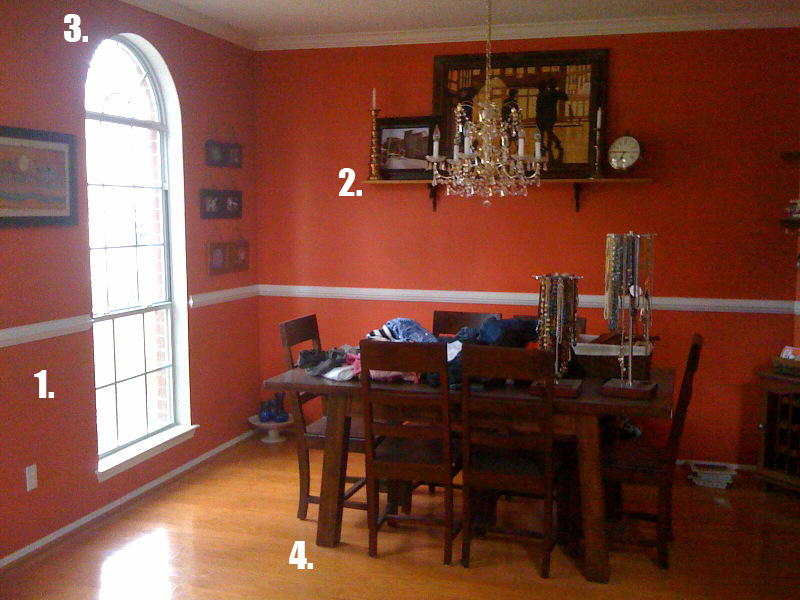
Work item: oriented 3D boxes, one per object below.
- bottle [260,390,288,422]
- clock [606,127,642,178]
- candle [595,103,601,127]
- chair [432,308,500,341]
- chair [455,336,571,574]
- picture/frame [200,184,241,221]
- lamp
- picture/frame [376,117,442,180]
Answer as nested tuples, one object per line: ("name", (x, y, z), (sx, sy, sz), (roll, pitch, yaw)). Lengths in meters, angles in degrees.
("bottle", (-1.026, 0.883, 5.392), (0.247, 0.252, 0.166), (7, -8, -27))
("clock", (1.589, -1.065, 4.744), (0.219, 0.283, 0.081), (5, 6, 29))
("candle", (1.443, -1.318, 4.809), (0.054, 0.153, 0.136), (3, 13, 15))
("chair", (0.410, 0.153, 4.666), (0.298, 0.289, 0.223), (0, -3, 11))
("chair", (0.608, 0.819, 3.644), (0.522, 1.267, 0.461), (3, 13, 14))
("picture/frame", (-1.382, -0.737, 5.137), (0.024, 0.262, 0.506), (5, 13, 22))
("lamp", (0.621, -1.282, 4.365), (0.840, 1.374, 1.607), (0, 12, 3))
("picture/frame", (0.082, -1.169, 5.072), (0.671, 0.667, 0.050), (1, 4, 10))
